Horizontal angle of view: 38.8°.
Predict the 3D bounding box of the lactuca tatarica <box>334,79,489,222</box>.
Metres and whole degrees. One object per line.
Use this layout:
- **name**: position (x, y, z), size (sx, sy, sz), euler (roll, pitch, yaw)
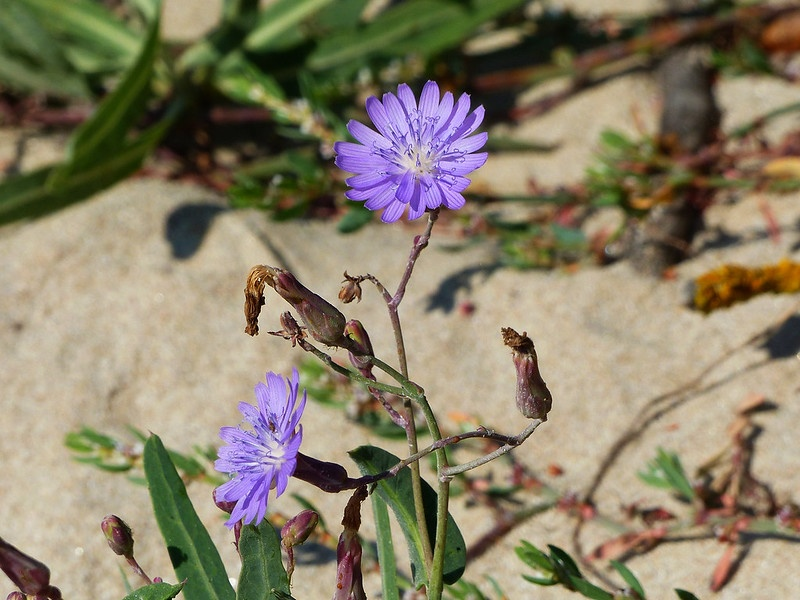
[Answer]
- **lactuca tatarica**: position (0.031, -0.434, 3.310), size (0.431, 0.068, 0.397), euler (-8, 74, 10)
